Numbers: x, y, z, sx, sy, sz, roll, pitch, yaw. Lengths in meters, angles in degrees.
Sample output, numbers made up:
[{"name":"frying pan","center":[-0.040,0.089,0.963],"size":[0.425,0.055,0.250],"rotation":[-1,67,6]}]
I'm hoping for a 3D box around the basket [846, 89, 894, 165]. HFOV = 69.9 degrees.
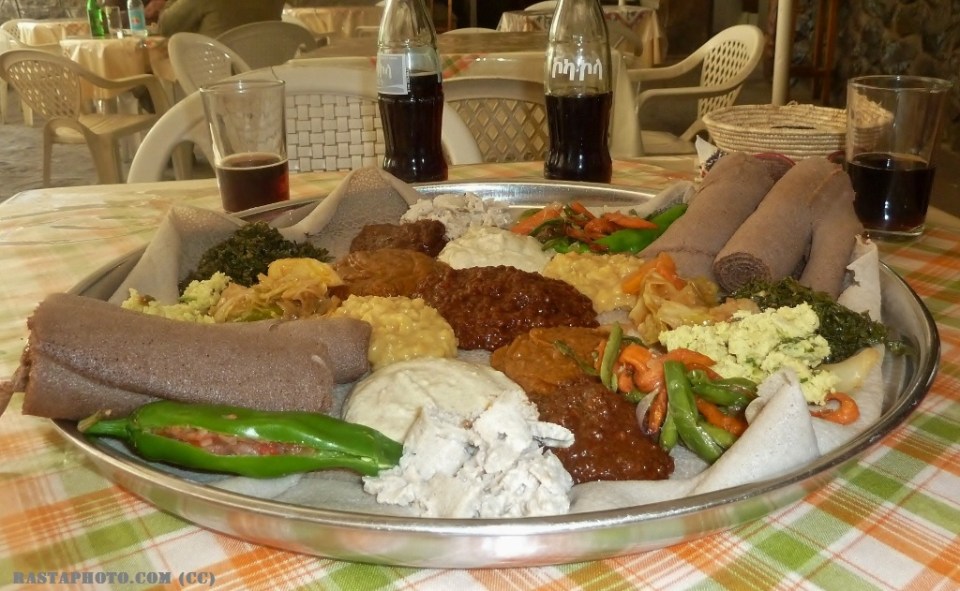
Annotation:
[{"name":"basket","center":[1.015,-0.433,1.726],"size":[0.154,0.145,0.172],"rotation":[-5,16,24]}]
